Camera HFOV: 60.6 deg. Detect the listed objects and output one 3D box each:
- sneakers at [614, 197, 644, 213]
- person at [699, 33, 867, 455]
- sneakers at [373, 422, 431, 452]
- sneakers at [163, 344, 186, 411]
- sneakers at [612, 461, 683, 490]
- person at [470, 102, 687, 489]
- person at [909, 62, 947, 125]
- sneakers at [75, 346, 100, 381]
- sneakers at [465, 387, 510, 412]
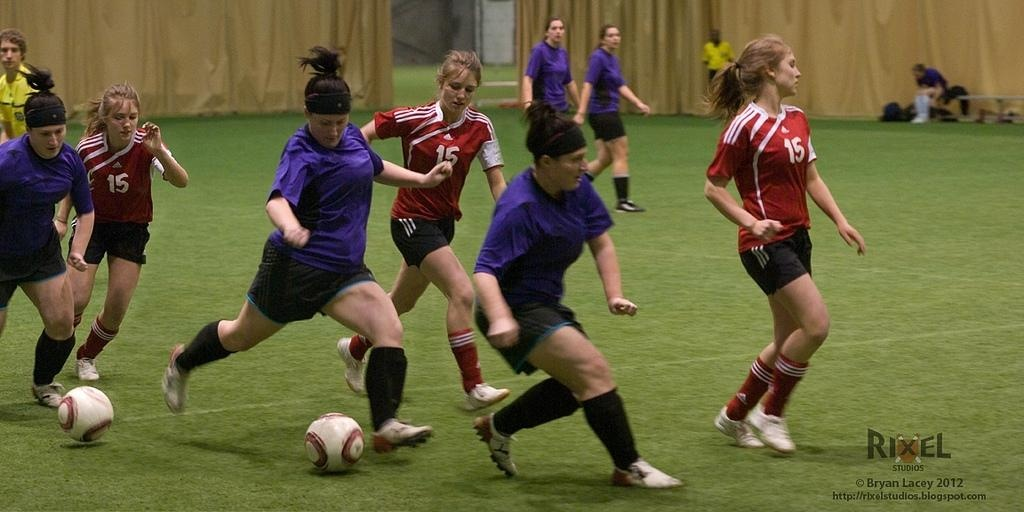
[{"bbox_3d":[1.707,-0.720,12.647,0.395,0.121,0.190,0,5,11],"label":"sneakers"},{"bbox_3d":[2.020,-0.132,6.872,0.959,3.161,0.912,3,10,16],"label":"person"},{"bbox_3d":[-0.818,1.320,6.498,0.527,0.189,0.177,-12,5,19],"label":"sneakers"},{"bbox_3d":[-2.709,0.990,7.107,0.217,0.498,0.256,-2,10,-18],"label":"sneakers"},{"bbox_3d":[1.001,1.589,6.356,0.670,0.209,0.180,-2,-3,5],"label":"sneakers"},{"bbox_3d":[0.340,0.279,6.365,1.212,2.749,0.629,0,10,-2],"label":"person"},{"bbox_3d":[9.161,-3.579,19.230,0.681,1.299,0.646,5,10,23],"label":"person"},{"bbox_3d":[-3.746,0.994,7.750,0.151,0.133,0.400,-5,7,-43],"label":"sneakers"},{"bbox_3d":[-0.223,1.167,7.201,0.416,0.153,0.160,-13,14,36],"label":"sneakers"}]
